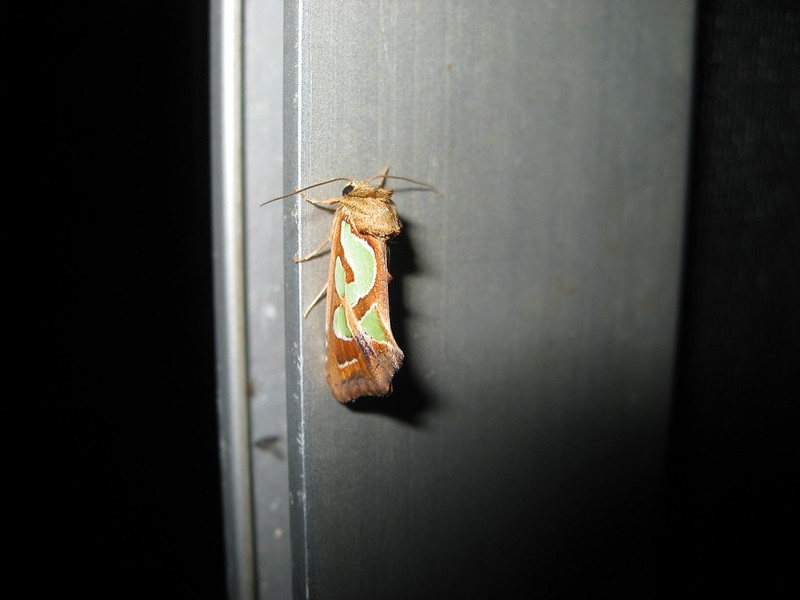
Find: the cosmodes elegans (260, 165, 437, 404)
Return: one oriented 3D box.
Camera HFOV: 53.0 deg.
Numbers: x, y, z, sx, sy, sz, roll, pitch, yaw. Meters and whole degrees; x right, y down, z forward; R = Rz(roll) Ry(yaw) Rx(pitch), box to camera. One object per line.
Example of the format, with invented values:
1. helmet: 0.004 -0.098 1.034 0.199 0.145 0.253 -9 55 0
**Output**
1. cosmodes elegans: -0.118 -0.027 1.716 0.246 0.460 0.136 0 8 4
